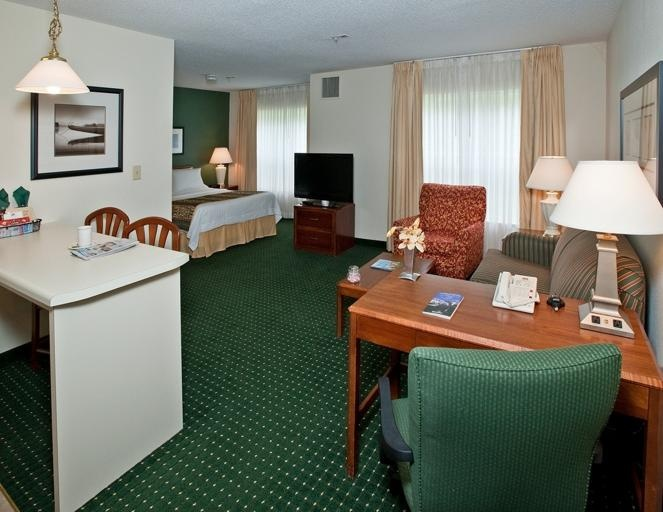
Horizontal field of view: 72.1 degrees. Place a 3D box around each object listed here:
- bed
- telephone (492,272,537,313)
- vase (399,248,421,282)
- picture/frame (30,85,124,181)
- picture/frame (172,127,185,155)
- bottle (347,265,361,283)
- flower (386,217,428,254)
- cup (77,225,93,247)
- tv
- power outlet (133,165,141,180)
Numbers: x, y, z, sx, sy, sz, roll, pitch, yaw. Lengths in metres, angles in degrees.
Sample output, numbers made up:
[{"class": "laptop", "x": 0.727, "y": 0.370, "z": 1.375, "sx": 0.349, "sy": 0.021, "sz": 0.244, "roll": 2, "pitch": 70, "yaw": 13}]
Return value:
[{"class": "bed", "x": -1.957, "y": -0.721, "z": 7.066, "sx": 1.585, "sy": 1.068, "sz": 2.002, "roll": 6, "pitch": 17, "yaw": 30}, {"class": "telephone", "x": 0.964, "y": 0.170, "z": 2.384, "sx": 0.182, "sy": 0.077, "sz": 0.255, "roll": 3, "pitch": 39, "yaw": 28}, {"class": "vase", "x": 0.579, "y": 0.065, "z": 3.384, "sx": 0.150, "sy": 0.243, "sz": 0.162, "roll": 3, "pitch": 10, "yaw": 31}, {"class": "picture/frame", "x": -2.166, "y": -1.051, "z": 3.855, "sx": 0.039, "sy": 0.870, "sz": 0.784, "roll": 7, "pitch": 10, "yaw": 34}, {"class": "picture/frame", "x": -2.783, "y": -2.127, "z": 8.401, "sx": 0.086, "sy": 0.501, "sz": 0.252, "roll": 5, "pitch": 14, "yaw": 29}, {"class": "bottle", "x": 0.191, "y": 0.144, "z": 3.808, "sx": 0.108, "sy": 0.128, "sz": 0.119, "roll": -2, "pitch": 6, "yaw": -5}, {"class": "flower", "x": 0.731, "y": -0.205, "z": 4.363, "sx": 0.371, "sy": 0.437, "sz": 0.412, "roll": -1, "pitch": 5, "yaw": 19}, {"class": "cup", "x": -1.496, "y": -0.124, "z": 2.782, "sx": 0.066, "sy": 0.122, "sz": 0.114, "roll": 6, "pitch": 16, "yaw": 16}, {"class": "tv", "x": -0.114, "y": -1.133, "z": 6.618, "sx": 0.981, "sy": 0.734, "sz": 0.196, "roll": 5, "pitch": 14, "yaw": 27}, {"class": "power outlet", "x": -1.896, "y": -0.826, "z": 4.466, "sx": 0.012, "sy": 0.132, "sz": 0.120, "roll": 5, "pitch": 9, "yaw": 25}]
